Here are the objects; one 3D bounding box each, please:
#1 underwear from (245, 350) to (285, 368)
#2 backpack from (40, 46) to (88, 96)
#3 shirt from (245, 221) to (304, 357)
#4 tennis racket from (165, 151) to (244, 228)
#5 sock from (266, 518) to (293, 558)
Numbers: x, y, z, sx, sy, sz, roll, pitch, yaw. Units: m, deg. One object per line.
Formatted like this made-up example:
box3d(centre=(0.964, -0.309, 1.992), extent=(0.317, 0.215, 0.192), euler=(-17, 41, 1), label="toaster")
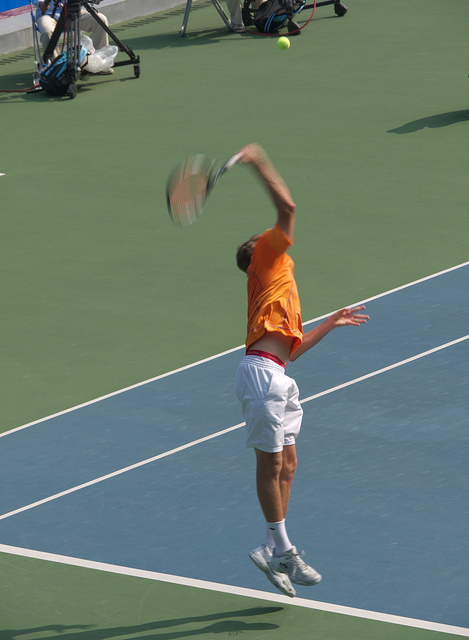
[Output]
box3d(centre=(0.142, 0.196, 4.957), extent=(0.201, 0.099, 0.132), euler=(3, 22, 10), label="underwear")
box3d(centre=(-2.249, -3.379, 13.192), extent=(0.347, 0.771, 0.449), euler=(39, -3, 24), label="backpack")
box3d(centre=(0.205, -0.150, 4.989), extent=(0.299, 0.710, 0.357), euler=(0, 24, 3), label="shirt")
box3d(centre=(-0.173, -0.599, 4.563), extent=(0.173, 0.357, 0.443), euler=(18, 28, 35), label="tennis racket")
box3d(centre=(0.227, 1.103, 4.975), extent=(0.113, 0.181, 0.170), euler=(-3, 23, -4), label="sock")
